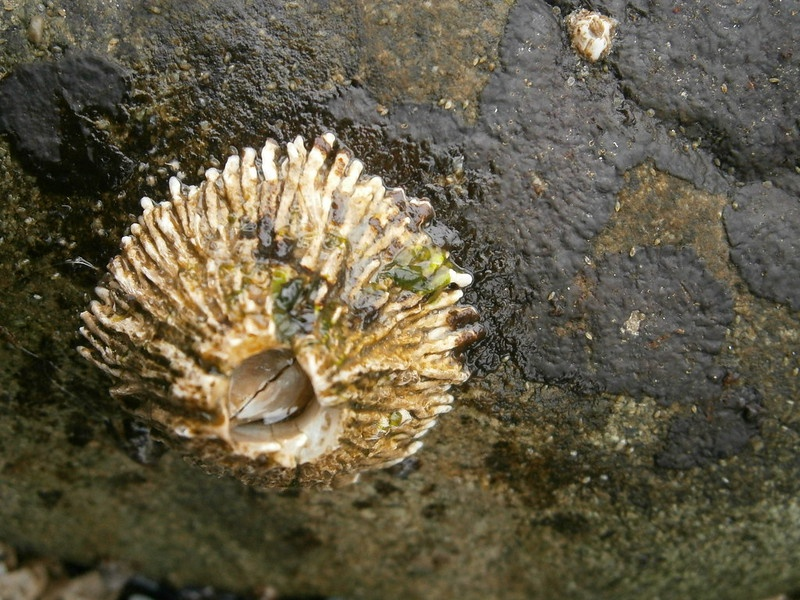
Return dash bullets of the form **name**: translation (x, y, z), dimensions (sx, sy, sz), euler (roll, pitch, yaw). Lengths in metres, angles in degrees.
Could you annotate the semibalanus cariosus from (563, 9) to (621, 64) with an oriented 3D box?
- **semibalanus cariosus**: translation (1.063, -1.508, 5.431), dimensions (0.307, 0.110, 0.255), euler (31, 75, -1)
